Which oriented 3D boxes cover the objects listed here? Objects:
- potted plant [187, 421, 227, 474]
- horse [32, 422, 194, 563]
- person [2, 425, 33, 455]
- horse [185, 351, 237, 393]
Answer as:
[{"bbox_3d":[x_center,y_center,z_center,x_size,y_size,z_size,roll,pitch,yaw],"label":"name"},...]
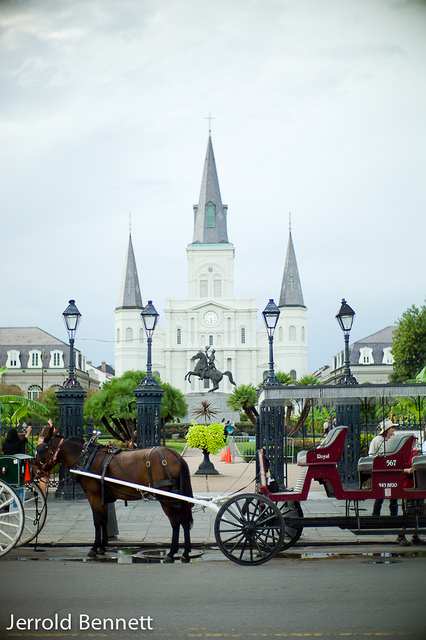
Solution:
[{"bbox_3d":[-0.100,3.071,28.441,1.114,1.565,1.145,0,-7,-1],"label":"potted plant"},{"bbox_3d":[-1.190,2.299,15.435,2.512,1.614,0.861,-5,-6,40],"label":"horse"},{"bbox_3d":[-3.072,1.882,18.421,0.434,0.399,1.397,-1,-5,-12],"label":"person"},{"bbox_3d":[-0.058,2.587,58.363,2.384,2.142,0.656,5,1,1],"label":"horse"}]
